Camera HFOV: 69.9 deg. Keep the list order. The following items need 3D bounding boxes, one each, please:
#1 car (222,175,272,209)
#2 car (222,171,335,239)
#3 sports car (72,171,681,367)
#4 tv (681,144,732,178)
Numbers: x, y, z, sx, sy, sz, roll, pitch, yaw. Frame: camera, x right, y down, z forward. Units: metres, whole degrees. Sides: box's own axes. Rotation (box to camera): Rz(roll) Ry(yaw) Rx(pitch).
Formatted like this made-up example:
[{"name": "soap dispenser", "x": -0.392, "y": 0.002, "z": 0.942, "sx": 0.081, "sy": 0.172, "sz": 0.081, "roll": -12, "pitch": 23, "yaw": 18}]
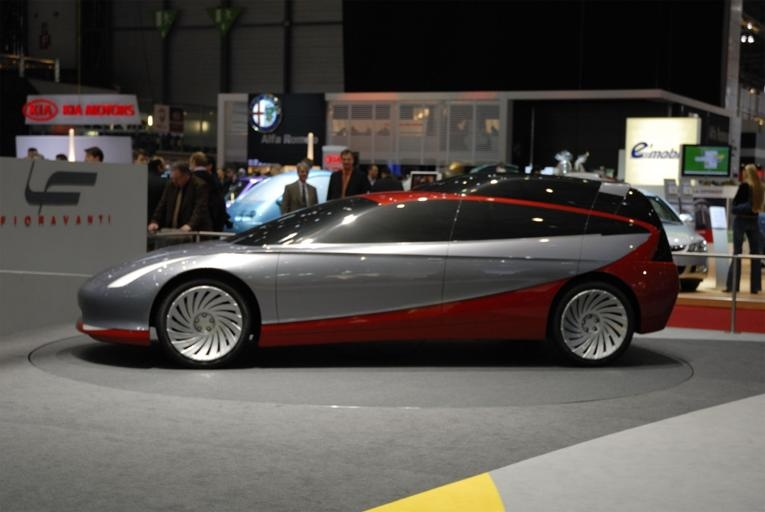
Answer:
[{"name": "car", "x": -3.861, "y": -1.767, "z": 16.397, "sx": 1.705, "sy": 0.900, "sz": 1.021, "roll": -3, "pitch": 16, "yaw": 30}, {"name": "car", "x": -2.634, "y": -1.424, "z": 14.258, "sx": 2.891, "sy": 1.520, "sz": 1.704, "roll": -6, "pitch": 3, "yaw": -41}, {"name": "sports car", "x": 0.147, "y": 0.238, "z": 6.396, "sx": 5.691, "sy": 1.774, "sz": 2.480, "roll": 1, "pitch": -2, "yaw": -4}, {"name": "tv", "x": 8.532, "y": -2.506, "z": 14.401, "sx": 1.585, "sy": 0.866, "sz": 0.305, "roll": 0, "pitch": 5, "yaw": -18}]
